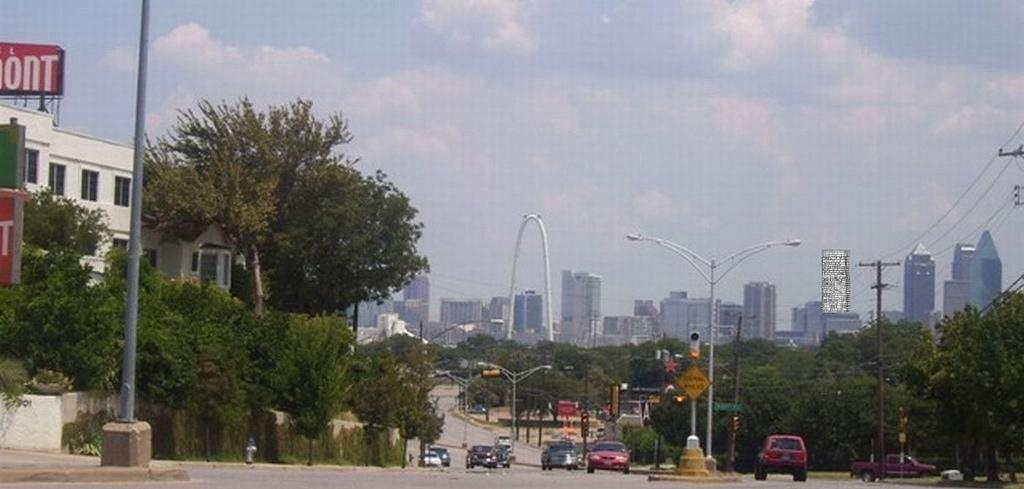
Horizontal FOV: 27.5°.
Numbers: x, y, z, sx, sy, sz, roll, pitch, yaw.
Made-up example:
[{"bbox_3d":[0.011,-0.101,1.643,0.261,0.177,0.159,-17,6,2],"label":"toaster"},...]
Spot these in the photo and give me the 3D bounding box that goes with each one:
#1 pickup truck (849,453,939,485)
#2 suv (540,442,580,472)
[{"bbox_3d":[47.614,28.840,261.022,9.734,3.155,3.947,-1,-3,2],"label":"pickup truck"},{"bbox_3d":[5.953,26.668,260.092,4.291,3.648,3.614,2,-12,-3],"label":"suv"}]
